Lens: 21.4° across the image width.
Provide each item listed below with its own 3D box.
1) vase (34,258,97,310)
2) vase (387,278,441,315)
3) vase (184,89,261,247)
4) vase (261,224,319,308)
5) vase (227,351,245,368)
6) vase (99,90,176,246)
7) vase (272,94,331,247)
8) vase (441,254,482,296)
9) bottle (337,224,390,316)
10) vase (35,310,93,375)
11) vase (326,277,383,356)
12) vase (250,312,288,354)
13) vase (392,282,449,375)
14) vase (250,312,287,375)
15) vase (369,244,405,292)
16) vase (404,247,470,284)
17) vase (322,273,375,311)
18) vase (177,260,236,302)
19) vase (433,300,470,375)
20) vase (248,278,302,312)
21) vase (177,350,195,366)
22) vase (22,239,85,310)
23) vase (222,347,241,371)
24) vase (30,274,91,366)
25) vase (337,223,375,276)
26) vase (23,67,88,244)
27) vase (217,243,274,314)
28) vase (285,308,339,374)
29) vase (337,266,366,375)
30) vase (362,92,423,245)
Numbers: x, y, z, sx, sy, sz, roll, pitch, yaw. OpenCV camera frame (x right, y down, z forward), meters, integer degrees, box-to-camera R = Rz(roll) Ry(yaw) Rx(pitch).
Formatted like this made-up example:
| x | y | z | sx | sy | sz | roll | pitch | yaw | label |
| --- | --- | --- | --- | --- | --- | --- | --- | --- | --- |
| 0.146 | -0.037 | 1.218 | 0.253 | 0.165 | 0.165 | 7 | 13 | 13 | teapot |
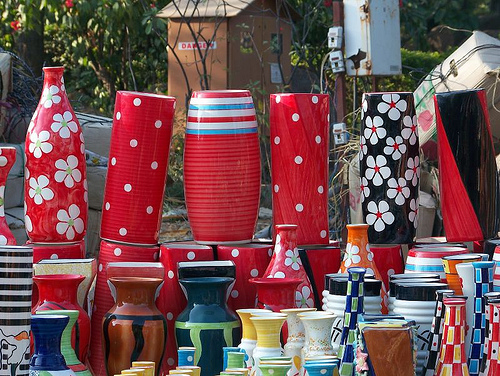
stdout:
| x | y | z | sx | sy | sz | roll | pitch | yaw | label |
| --- | --- | --- | --- | --- | --- | --- | --- | --- | --- |
| -0.722 | 0.356 | 5.157 | 0.186 | 0.276 | 0.188 | 0 | -3 | -5 | vase |
| 0.621 | 0.397 | 5.059 | 0.136 | 0.164 | 0.153 | 1 | -4 | 1 | vase |
| -0.113 | -0.085 | 5.322 | 0.309 | 0.613 | 0.153 | -2 | 11 | -2 | vase |
| 0.159 | 0.297 | 5.201 | 0.247 | 0.472 | 0.276 | 0 | 2 | -2 | vase |
| -0.052 | 0.639 | 4.926 | 0.050 | 0.059 | 0.051 | 6 | -9 | -35 | vase |
| -0.452 | -0.083 | 5.309 | 0.320 | 0.615 | 0.162 | -3 | 11 | -4 | vase |
| 0.209 | -0.078 | 5.353 | 0.227 | 0.614 | 0.136 | -1 | 10 | 3 | vase |
| 0.815 | 0.320 | 5.046 | 0.125 | 0.171 | 0.138 | -2 | 6 | 4 | vase |
| 0.425 | 0.320 | 5.176 | 0.315 | 0.341 | 0.359 | 1 | -15 | 4 | bottle |
| -0.711 | 0.584 | 5.087 | 0.191 | 0.274 | 0.217 | 2 | 1 | -14 | vase |
| 0.384 | 0.478 | 5.005 | 0.224 | 0.354 | 0.220 | -5 | -8 | 42 | vase |
| 0.074 | 0.535 | 4.973 | 0.122 | 0.180 | 0.139 | 2 | -3 | 25 | vase |
| 0.638 | 0.533 | 4.986 | 0.240 | 0.438 | 0.283 | 0 | 1 | 8 | vase |
| 0.075 | 0.576 | 4.910 | 0.129 | 0.210 | 0.069 | -4 | 11 | -8 | vase |
| 0.560 | 0.312 | 5.311 | 0.148 | 0.178 | 0.141 | -2 | -1 | 8 | vase |
| 0.703 | 0.283 | 5.176 | 0.146 | 0.135 | 0.164 | 0 | -3 | -1 | vase |
| 0.370 | 0.403 | 5.082 | 0.141 | 0.163 | 0.155 | 3 | -4 | -13 | vase |
| -0.171 | 0.390 | 5.114 | 0.165 | 0.191 | 0.137 | 1 | -11 | -6 | vase |
| 0.746 | 0.553 | 4.906 | 0.122 | 0.273 | 0.075 | 0 | 11 | 9 | vase |
| 0.105 | 0.406 | 5.130 | 0.122 | 0.113 | 0.137 | 0 | 1 | -1 | vase |
| -0.239 | 0.636 | 4.967 | 0.049 | 0.064 | 0.054 | 1 | 1 | -16 | vase |
| -0.759 | 0.339 | 5.288 | 0.209 | 0.298 | 0.234 | 0 | -3 | 12 | vase |
| -0.075 | 0.635 | 4.957 | 0.068 | 0.102 | 0.073 | 1 | 1 | 15 | vase |
| -0.734 | 0.532 | 5.116 | 0.216 | 0.387 | 0.201 | 0 | -4 | -27 | vase |
| 0.432 | 0.247 | 5.212 | 0.165 | 0.228 | 0.191 | -8 | 3 | -7 | vase |
| -0.787 | -0.131 | 5.290 | 0.250 | 0.701 | 0.152 | -4 | 11 | -12 | vase |
| 0.039 | 0.361 | 5.344 | 0.190 | 0.253 | 0.179 | 6 | -2 | -10 | vase |
| 0.224 | 0.580 | 4.959 | 0.192 | 0.346 | 0.216 | 0 | -8 | -3 | vase |
| 0.378 | 0.498 | 4.954 | 0.083 | 0.370 | 0.162 | 3 | 12 | 24 | vase |
| 0.572 | -0.156 | 5.464 | 0.261 | 0.709 | 0.274 | 2 | 26 | 11 | vase |
